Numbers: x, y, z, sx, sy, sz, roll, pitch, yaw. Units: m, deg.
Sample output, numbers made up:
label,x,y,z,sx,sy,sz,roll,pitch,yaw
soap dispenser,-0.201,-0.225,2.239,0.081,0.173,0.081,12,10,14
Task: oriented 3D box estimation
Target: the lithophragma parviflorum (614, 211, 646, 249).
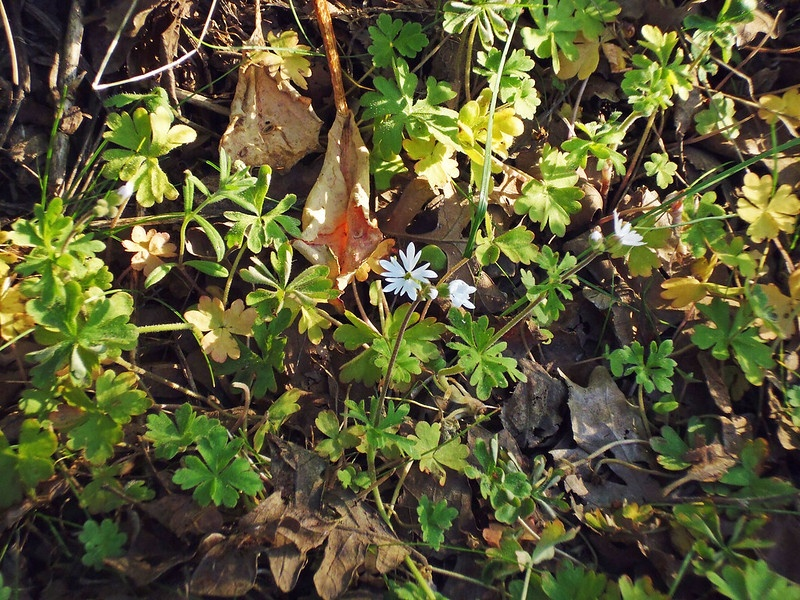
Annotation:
label,x,y,z,sx,sy,sz,roll,pitch,yaw
lithophragma parviflorum,1.327,-0.393,4.109,0.094,0.196,0.199,-27,40,10
